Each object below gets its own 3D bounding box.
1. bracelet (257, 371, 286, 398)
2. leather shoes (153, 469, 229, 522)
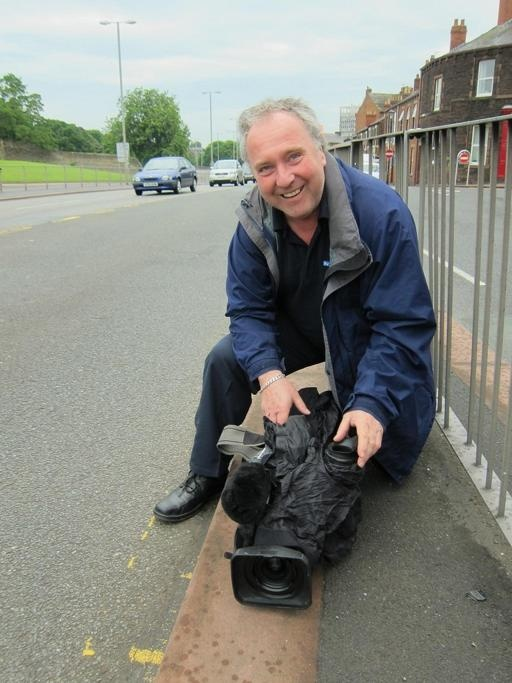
[{"bbox_3d":[0.057,0.150,1.859,0.080,0.029,0.074,-34,-3,-11],"label":"bracelet"},{"bbox_3d":[-0.247,0.574,2.080,0.117,0.152,0.354,34,34,29],"label":"leather shoes"}]
